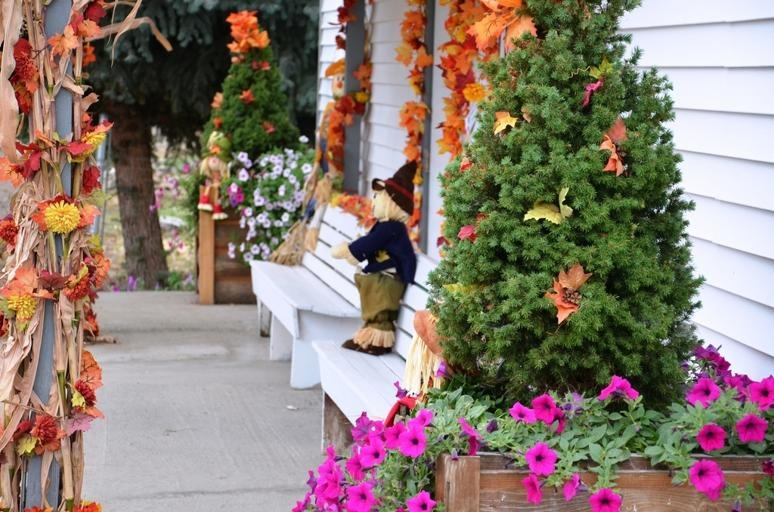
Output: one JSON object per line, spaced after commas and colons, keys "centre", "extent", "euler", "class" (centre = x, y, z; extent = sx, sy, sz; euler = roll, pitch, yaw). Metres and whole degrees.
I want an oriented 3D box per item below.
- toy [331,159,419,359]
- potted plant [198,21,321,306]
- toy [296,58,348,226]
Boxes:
{"centre": [-0.055, 0.022, 5.212], "extent": [0.424, 1.142, 0.373], "euler": [3, -4, -3], "class": "toy"}
{"centre": [-1.248, -0.715, 8.199], "extent": [0.814, 2.943, 0.873], "euler": [-6, 11, -24], "class": "potted plant"}
{"centre": [-0.553, -0.936, 7.508], "extent": [0.333, 1.510, 0.342], "euler": [-6, 13, -28], "class": "toy"}
